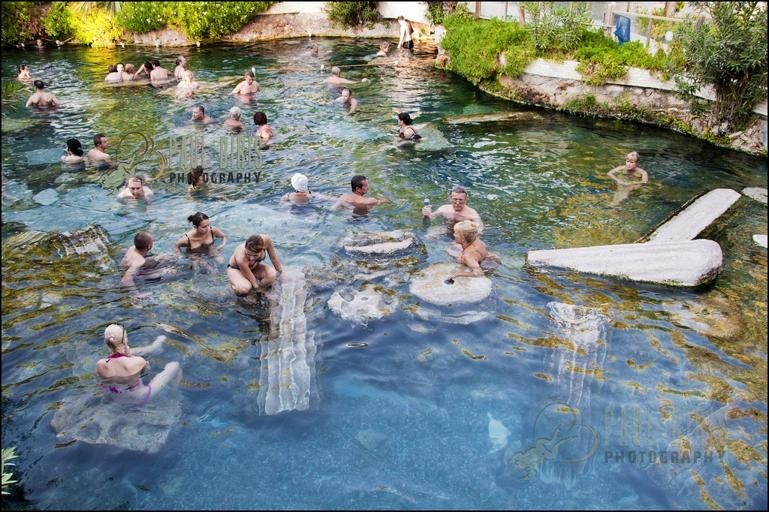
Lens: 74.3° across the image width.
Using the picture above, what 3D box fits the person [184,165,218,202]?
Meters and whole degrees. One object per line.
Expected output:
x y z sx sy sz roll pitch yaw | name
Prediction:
-5.731 -2.190 15.778 0.946 1.087 0.473 -8 -6 -21 | person

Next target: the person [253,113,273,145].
-4.399 -4.614 18.350 0.567 1.031 0.807 0 29 4 | person

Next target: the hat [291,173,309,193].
-2.472 -2.112 14.849 0.411 0.535 0.403 -9 30 -12 | hat

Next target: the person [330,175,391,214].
-0.716 -1.831 14.926 1.156 0.989 1.850 -27 32 -29 | person

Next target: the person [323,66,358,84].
-2.179 -8.433 23.839 0.996 0.785 1.243 15 32 28 | person

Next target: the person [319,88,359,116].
-1.684 -6.622 21.593 1.220 0.844 1.980 -19 32 -29 | person

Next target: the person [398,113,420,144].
0.887 -4.649 18.348 0.764 0.923 0.712 -4 29 -3 | person

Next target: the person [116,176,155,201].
-7.484 -2.038 15.239 1.069 0.590 0.769 -9 35 -17 | person

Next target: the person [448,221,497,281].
2.140 -0.069 12.630 0.770 1.296 0.790 29 73 26 | person
